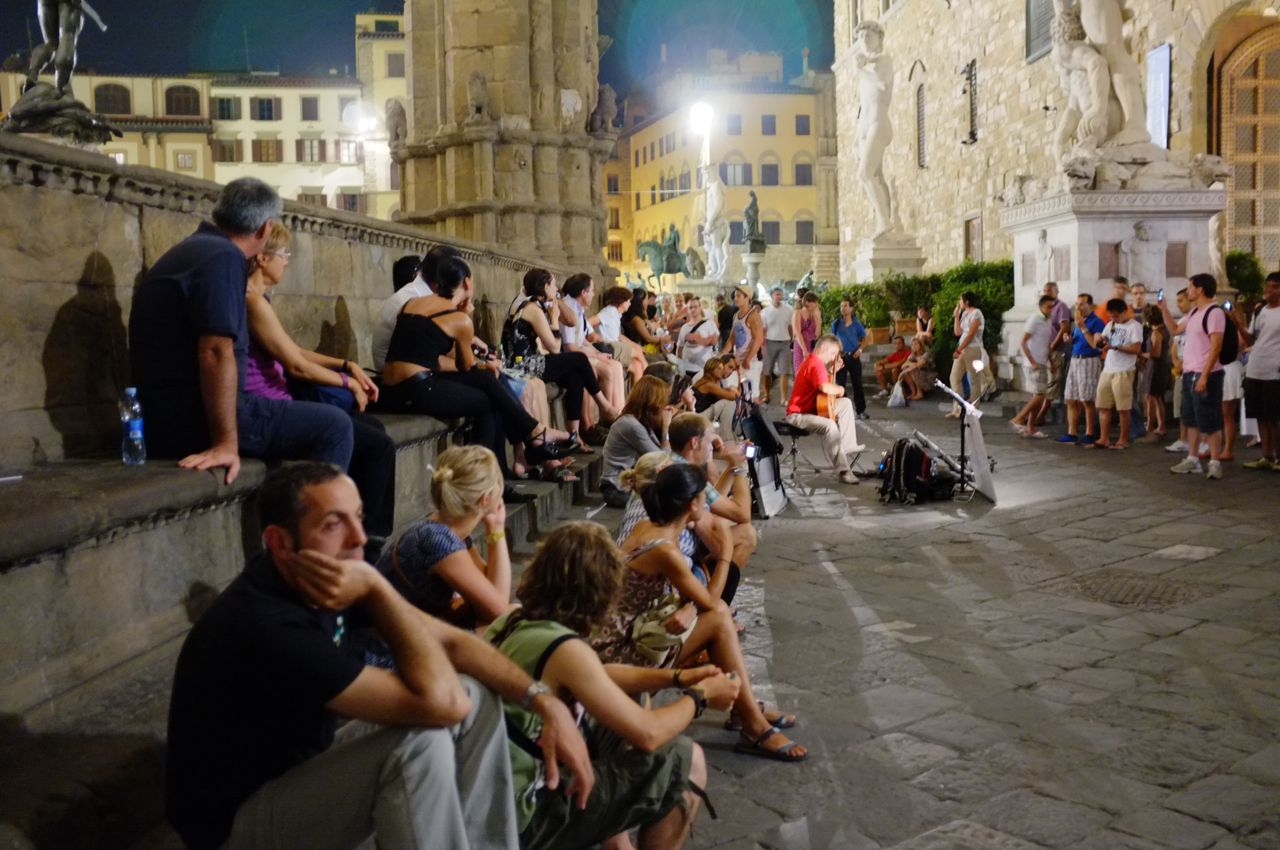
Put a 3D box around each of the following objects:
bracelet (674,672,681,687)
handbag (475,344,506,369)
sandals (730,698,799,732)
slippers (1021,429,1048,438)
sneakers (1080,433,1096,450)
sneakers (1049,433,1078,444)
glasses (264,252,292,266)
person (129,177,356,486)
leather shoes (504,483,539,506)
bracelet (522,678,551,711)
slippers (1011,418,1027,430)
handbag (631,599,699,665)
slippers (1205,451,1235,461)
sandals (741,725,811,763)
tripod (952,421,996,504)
[{"bbox_3d":[0.174,1.151,4.780,0.011,0.046,0.045,-15,-1,-3],"label":"bracelet"},{"bbox_3d":[-1.152,-0.532,8.062,0.189,0.258,0.486,-3,12,-9],"label":"handbag"},{"bbox_3d":[0.678,1.584,5.787,0.330,0.141,0.163,-8,11,0],"label":"sandals"},{"bbox_3d":[5.362,0.139,14.332,0.363,0.151,0.126,1,36,0],"label":"slippers"},{"bbox_3d":[5.690,0.205,13.388,0.119,0.145,0.363,-3,9,7],"label":"sneakers"},{"bbox_3d":[5.550,0.174,13.783,0.104,0.116,0.284,-6,8,-19],"label":"sneakers"},{"bbox_3d":[-2.046,-0.929,5.979,0.138,0.048,0.139,-3,12,16],"label":"glasses"},{"bbox_3d":[-2.044,-0.472,5.328,0.937,1.474,0.574,-8,13,-28],"label":"person"},{"bbox_3d":[-0.934,0.532,8.201,0.355,0.153,0.108,-7,10,-43],"label":"leather shoes"},{"bbox_3d":[-0.409,1.065,4.257,0.079,0.107,0.119,28,0,34],"label":"bracelet"},{"bbox_3d":[5.363,0.014,14.970,0.082,0.090,0.226,-35,51,0],"label":"slippers"},{"bbox_3d":[0.133,1.017,5.256,0.321,0.244,0.136,-36,-2,-9],"label":"handbag"},{"bbox_3d":[6.211,0.326,11.363,0.267,0.169,0.092,3,9,12],"label":"slippers"},{"bbox_3d":[0.695,1.643,5.540,0.281,0.105,0.157,-1,4,23],"label":"sandals"},{"bbox_3d":[3.491,0.420,11.080,0.110,0.657,0.644,-15,21,-2],"label":"tripod"}]
